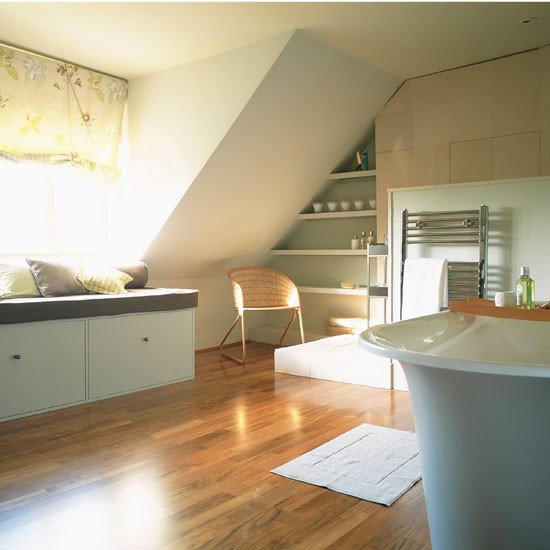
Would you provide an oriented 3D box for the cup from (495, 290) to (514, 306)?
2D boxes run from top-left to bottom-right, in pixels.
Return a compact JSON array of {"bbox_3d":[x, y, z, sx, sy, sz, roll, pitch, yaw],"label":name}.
[{"bbox_3d":[1.061,0.113,1.940,0.070,0.061,0.075,-1,-1,0],"label":"cup"}]

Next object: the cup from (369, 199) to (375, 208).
[{"bbox_3d":[1.080,-0.781,4.670,0.081,0.120,0.092,-1,6,11],"label":"cup"}]

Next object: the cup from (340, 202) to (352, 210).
[{"bbox_3d":[0.806,-0.789,4.878,0.100,0.089,0.099,-2,4,0],"label":"cup"}]

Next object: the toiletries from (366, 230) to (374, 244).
[{"bbox_3d":[1.070,-0.428,4.722,0.089,0.169,0.241,0,0,12],"label":"toiletries"}]

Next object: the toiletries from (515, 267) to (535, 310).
[{"bbox_3d":[1.108,0.059,1.867,0.069,0.177,0.230,0,0,30],"label":"toiletries"}]

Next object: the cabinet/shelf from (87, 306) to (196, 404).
[{"bbox_3d":[-1.138,0.592,3.395,0.485,0.634,0.892,-2,-3,42],"label":"cabinet/shelf"}]

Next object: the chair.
[{"bbox_3d":[-0.115,0.420,4.589,0.731,1.046,0.706,-2,0,-12],"label":"chair"}]

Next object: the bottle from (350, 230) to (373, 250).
[{"bbox_3d":[0.981,-0.384,4.765,0.269,0.295,0.157,0,0,24],"label":"bottle"}]

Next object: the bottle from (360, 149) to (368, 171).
[{"bbox_3d":[1.007,-1.278,4.740,0.087,0.249,0.174,0,0,19],"label":"bottle"}]

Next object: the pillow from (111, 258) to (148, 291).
[{"bbox_3d":[-1.376,-0.017,3.978,0.215,0.329,0.260,6,3,34],"label":"pillow"}]

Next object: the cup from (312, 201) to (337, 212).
[{"bbox_3d":[0.595,-0.808,5.020,0.266,0.109,0.131,-3,5,18],"label":"cup"}]

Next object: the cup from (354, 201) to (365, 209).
[{"bbox_3d":[0.960,-0.786,4.780,0.099,0.096,0.098,-2,5,0],"label":"cup"}]
